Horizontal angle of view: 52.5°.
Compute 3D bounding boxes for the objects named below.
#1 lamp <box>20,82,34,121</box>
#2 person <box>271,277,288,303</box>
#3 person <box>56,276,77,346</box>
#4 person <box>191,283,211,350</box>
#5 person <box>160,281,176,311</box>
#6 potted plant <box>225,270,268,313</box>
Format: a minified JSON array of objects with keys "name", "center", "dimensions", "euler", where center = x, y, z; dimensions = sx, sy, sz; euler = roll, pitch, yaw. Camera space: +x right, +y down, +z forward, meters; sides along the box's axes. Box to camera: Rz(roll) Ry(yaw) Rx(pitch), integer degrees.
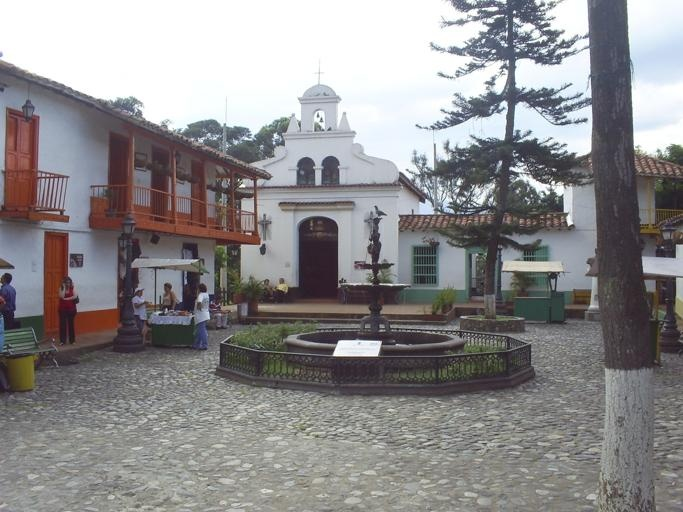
[{"name":"lamp","center":[-7.303,-3.603,16.045],"dimensions":[0.274,0.971,1.218],"euler":[-1,-3,-24]},{"name":"person","center":[-2.491,1.399,28.548],"dimensions":[0.535,0.996,0.759],"euler":[-3,-3,10]},{"name":"person","center":[-6.577,1.283,16.544],"dimensions":[0.429,1.587,0.784],"euler":[-1,-3,-23]},{"name":"person","center":[-3.461,1.468,16.913],"dimensions":[0.356,1.575,0.814],"euler":[-1,-3,-13]},{"name":"person","center":[-4.711,1.083,18.689],"dimensions":[0.361,0.750,1.336],"euler":[-1,-3,-15]},{"name":"potted plant","center":[-3.387,1.337,25.869],"dimensions":[1.440,1.581,1.250],"euler":[1,-6,-18]}]
